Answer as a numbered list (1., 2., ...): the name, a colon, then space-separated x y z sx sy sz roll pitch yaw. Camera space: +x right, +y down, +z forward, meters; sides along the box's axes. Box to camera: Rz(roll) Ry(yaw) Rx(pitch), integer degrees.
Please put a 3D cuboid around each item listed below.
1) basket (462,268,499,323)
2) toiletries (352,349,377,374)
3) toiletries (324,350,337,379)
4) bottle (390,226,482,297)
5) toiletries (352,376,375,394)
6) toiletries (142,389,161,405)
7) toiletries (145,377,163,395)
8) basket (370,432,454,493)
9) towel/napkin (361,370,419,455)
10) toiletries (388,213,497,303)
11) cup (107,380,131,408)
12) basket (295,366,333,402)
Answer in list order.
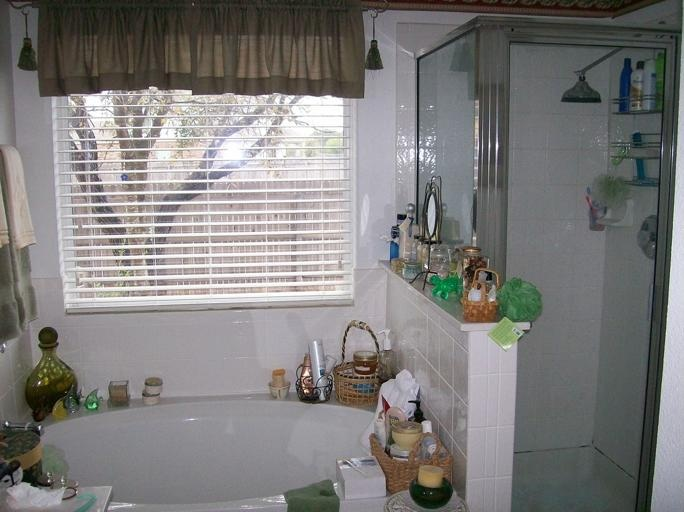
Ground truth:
1. basket: 0.575 0.155 2.322 0.142 0.193 0.261 1 9 13
2. toiletries: 0.136 0.632 3.346 0.121 0.095 0.120 0 -1 -45
3. toiletries: -0.075 0.696 3.595 0.126 0.139 0.086 3 2 21
4. bottle: 0.478 0.027 2.776 0.365 0.271 0.640 2 2 26
5. toiletries: 0.130 0.766 3.286 0.093 0.073 0.094 6 9 41
6. toiletries: -1.168 0.864 3.408 0.077 0.057 0.080 1 -3 -1
7. toiletries: -1.147 0.789 3.390 0.089 0.067 0.088 4 0 -41
8. basket: 0.270 0.882 2.487 0.213 0.123 0.320 0 1 -7
9. towel/napkin: 0.235 0.781 2.834 0.129 0.395 0.290 7 -11 3
10. toiletries: 0.509 0.010 2.733 0.464 0.189 0.498 2 4 32
11. cup: -1.322 0.822 3.366 0.162 0.172 0.124 0 6 -7
12. basket: -0.171 0.757 3.394 0.195 0.204 0.205 0 1 7
